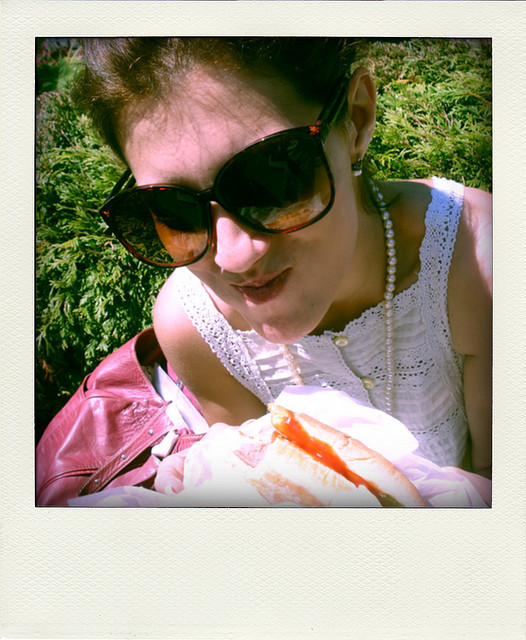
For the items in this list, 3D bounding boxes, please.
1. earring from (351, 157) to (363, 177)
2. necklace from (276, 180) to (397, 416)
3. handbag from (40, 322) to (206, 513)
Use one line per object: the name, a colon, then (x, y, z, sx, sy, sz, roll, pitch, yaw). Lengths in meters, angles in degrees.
earring: (0.197, -0.318, 1.330, 0.016, 0.057, 0.057, 6, 40, 13)
necklace: (0.289, -0.065, 1.639, 0.435, 0.534, 0.061, -9, 29, 6)
handbag: (-0.376, 0.270, 1.668, 0.355, 0.306, 0.411, 7, 36, 29)
